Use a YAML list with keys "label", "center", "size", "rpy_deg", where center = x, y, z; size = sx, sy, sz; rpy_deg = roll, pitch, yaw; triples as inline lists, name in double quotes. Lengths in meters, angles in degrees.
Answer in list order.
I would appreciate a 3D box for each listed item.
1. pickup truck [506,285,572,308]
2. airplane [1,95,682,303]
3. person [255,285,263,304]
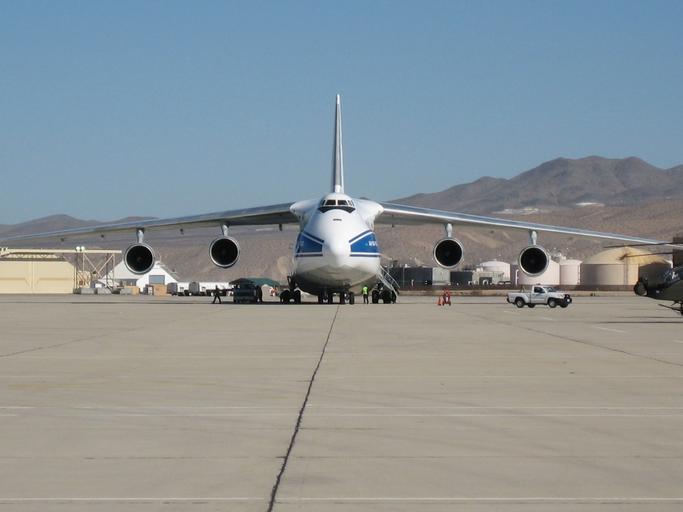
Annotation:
- label: "pickup truck"
  center: [7.774, 1.584, 46.355]
  size: [2.114, 0.652, 1.046]
  rpy_deg: [-3, -2, 27]
- label: "airplane"
  center: [-0.301, -2.320, 42.472]
  size: [14.751, 8.232, 10.928]
  rpy_deg: [0, -1, 32]
- label: "person"
  center: [-3.800, 1.771, 54.586]
  size: [0.257, 0.683, 0.782]
  rpy_deg: [3, 3, -8]
